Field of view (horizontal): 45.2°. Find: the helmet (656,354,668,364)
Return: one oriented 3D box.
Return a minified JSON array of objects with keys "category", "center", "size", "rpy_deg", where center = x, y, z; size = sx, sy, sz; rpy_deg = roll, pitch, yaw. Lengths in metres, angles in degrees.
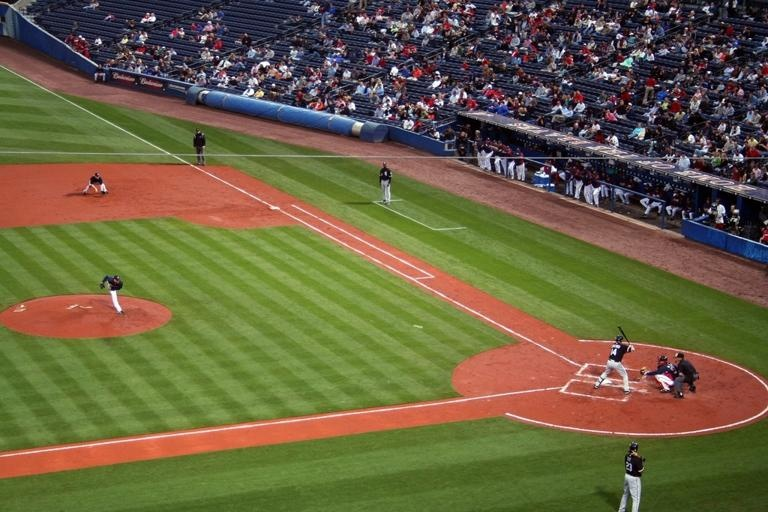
[{"category":"helmet","center":[10.613,3.962,35.266],"size":[0.552,0.315,0.347],"rpy_deg":[9,0,18]}]

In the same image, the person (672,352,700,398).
[{"category":"person","center":[11.421,4.490,35.023],"size":[0.894,1.729,1.082],"rpy_deg":[21,27,34]}]

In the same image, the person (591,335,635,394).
[{"category":"person","center":[8.865,4.043,34.845],"size":[1.404,2.397,0.891],"rpy_deg":[9,23,9]}]
